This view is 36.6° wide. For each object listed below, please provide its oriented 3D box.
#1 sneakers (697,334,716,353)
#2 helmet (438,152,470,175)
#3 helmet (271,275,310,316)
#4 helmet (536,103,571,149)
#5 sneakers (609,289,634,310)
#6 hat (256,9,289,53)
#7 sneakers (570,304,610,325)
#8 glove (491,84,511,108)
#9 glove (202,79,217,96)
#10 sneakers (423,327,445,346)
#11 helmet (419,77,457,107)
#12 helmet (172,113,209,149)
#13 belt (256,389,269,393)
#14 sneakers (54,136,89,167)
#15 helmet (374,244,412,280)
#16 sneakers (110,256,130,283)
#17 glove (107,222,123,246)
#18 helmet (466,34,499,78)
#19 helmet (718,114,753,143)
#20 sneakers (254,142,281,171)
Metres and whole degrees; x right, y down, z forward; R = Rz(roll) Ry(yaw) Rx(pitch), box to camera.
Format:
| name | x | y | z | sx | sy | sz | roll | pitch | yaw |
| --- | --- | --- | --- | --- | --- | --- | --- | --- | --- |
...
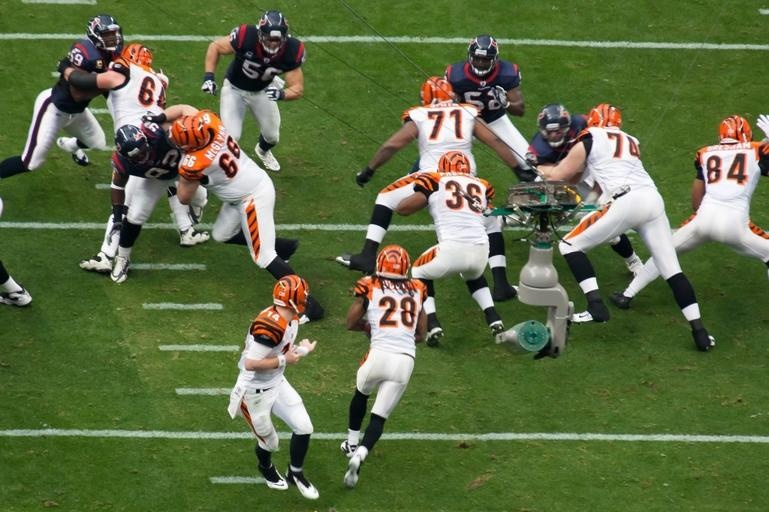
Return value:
| name | x | y | z | sx | sy | sz | roll | pitch | yaw |
| --- | --- | --- | --- | --- | --- | --- | --- | --- | --- |
| sneakers | 3.331 | 0.895 | 12.105 | 0.128 | 0.148 | 0.239 | -4 | 24 | 39 |
| helmet | 0.719 | -0.974 | 12.185 | 0.244 | 0.252 | 0.278 | 5 | 34 | 3 |
| helmet | -0.862 | 0.358 | 10.572 | 0.418 | 0.317 | 0.277 | 3 | 16 | -12 |
| helmet | 1.763 | -1.319 | 11.967 | 0.382 | 0.384 | 0.384 | -3 | 61 | 25 |
| sneakers | 2.561 | 0.460 | 12.769 | 0.149 | 0.164 | 0.260 | -5 | 33 | -46 |
| hat | -1.314 | -2.538 | 13.171 | 0.398 | 0.410 | 0.435 | 0 | 58 | -17 |
| sneakers | 2.140 | 0.606 | 12.089 | 0.621 | 0.215 | 0.207 | 1 | 7 | 2 |
| glove | 1.284 | -1.818 | 13.284 | 0.276 | 0.157 | 0.140 | 46 | 34 | 14 |
| glove | -2.011 | -1.913 | 13.278 | 0.167 | 0.089 | 0.253 | 0 | 21 | -8 |
| sneakers | 0.503 | 0.837 | 12.176 | 0.116 | 0.282 | 0.122 | -2 | 70 | -17 |
| helmet | 0.580 | -1.838 | 12.990 | 0.331 | 0.353 | 0.377 | 6 | 35 | 6 |
| helmet | -1.989 | -1.272 | 12.026 | 0.414 | 0.268 | 0.303 | -12 | 35 | 15 |
| belt | -1.112 | 1.209 | 10.571 | 0.097 | 0.033 | 0.015 | -6 | 40 | -19 |
| sneakers | -3.762 | -1.256 | 14.011 | 0.249 | 0.539 | 0.193 | 39 | 77 | 3 |
| helmet | 0.069 | 0.036 | 11.086 | 0.302 | 0.258 | 0.352 | 9 | 22 | -5 |
| sneakers | -2.898 | 0.152 | 12.739 | 0.148 | 0.140 | 0.356 | 14 | 35 | -17 |
| glove | -2.988 | -0.252 | 12.874 | 0.183 | 0.224 | 0.106 | -1 | -5 | -24 |
| helmet | 1.085 | -2.237 | 13.230 | 0.392 | 0.391 | 0.427 | 3 | 66 | 4 |
| helmet | 3.787 | -1.363 | 12.686 | 0.302 | 0.310 | 0.380 | 10 | 29 | 19 |
| sneakers | -1.435 | -1.180 | 14.241 | 0.423 | 0.188 | 0.204 | 41 | 82 | -9 |
